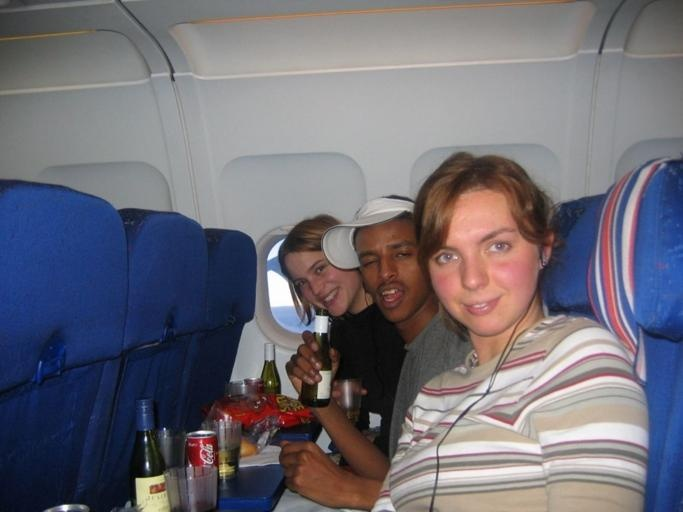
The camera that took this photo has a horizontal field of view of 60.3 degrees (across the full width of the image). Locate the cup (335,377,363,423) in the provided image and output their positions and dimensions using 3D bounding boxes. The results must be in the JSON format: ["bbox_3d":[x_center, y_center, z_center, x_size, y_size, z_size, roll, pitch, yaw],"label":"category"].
[{"bbox_3d":[0.032,0.667,2.716,0.175,0.186,0.178,-4,-8,-1],"label":"cup"}]

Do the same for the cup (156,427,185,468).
[{"bbox_3d":[-0.614,0.695,2.149,0.127,0.143,0.132,-5,-11,-1],"label":"cup"}]

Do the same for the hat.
[{"bbox_3d":[0.161,-0.099,2.899,0.451,0.148,0.288,-21,-11,-37],"label":"hat"}]

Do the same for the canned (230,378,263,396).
[{"bbox_3d":[-0.455,0.607,2.764,0.096,0.064,0.099,-1,-3,8],"label":"canned"}]
